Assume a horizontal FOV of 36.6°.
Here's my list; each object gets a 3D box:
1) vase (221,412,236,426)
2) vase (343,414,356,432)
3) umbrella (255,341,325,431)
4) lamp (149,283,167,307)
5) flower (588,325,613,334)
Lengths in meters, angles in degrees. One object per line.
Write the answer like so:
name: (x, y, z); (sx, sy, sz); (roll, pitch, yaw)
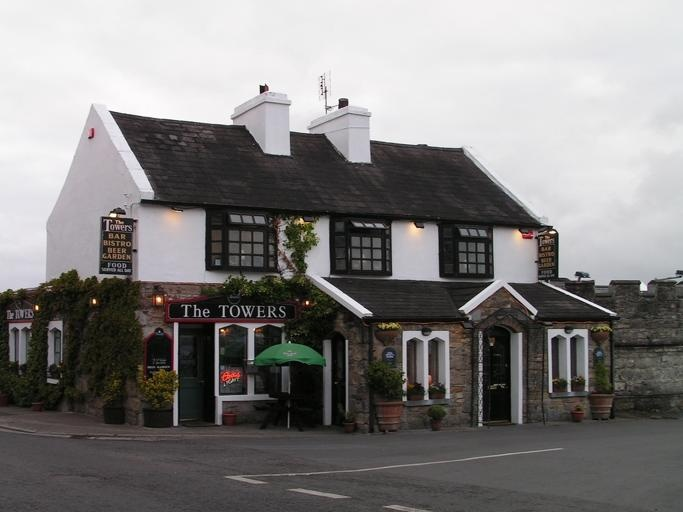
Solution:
vase: (-3.519, 5.028, 31.958); (0.374, 0.417, 0.533); (-1, 2, 11)
vase: (0.231, 5.145, 31.524); (0.442, 0.329, 0.445); (1, -10, -1)
umbrella: (-1.658, 4.029, 31.900); (2.367, 2.740, 2.501); (-2, -6, 11)
lamp: (-5.560, 1.189, 31.259); (0.448, 0.672, 0.305); (-1, 2, -19)
flower: (8.852, 2.539, 35.620); (0.412, 0.232, 0.415); (-4, -8, 44)
